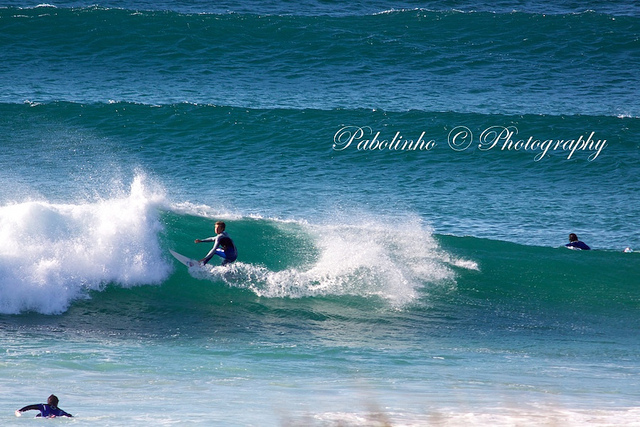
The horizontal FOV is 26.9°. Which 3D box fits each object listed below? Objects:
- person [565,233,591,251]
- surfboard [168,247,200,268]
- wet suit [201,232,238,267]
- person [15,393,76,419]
[{"bbox_3d":[11.629,1.278,60.489,0.840,0.332,0.979,3,16,-19],"label":"person"},{"bbox_3d":[-5.866,1.941,57.015,1.236,0.909,0.999,1,16,-4],"label":"surfboard"},{"bbox_3d":[-4.218,1.550,56.054,1.335,1.643,1.283,1,17,-4],"label":"wet suit"},{"bbox_3d":[-10.676,7.400,51.433,1.278,0.348,1.215,9,27,7],"label":"person"}]
